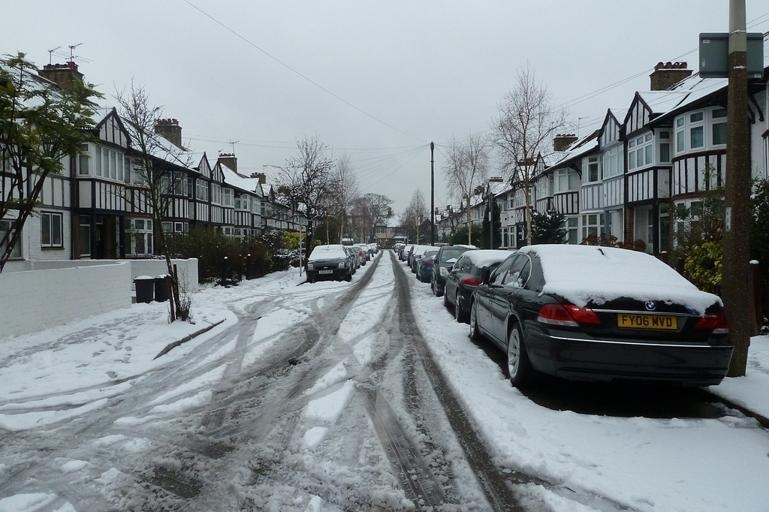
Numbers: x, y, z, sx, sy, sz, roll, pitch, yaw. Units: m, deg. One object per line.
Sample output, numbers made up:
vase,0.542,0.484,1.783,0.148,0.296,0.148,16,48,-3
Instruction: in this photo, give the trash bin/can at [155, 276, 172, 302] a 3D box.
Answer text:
trash bin/can,-5.890,0.869,15.284,0.547,0.914,0.500,2,-4,-26

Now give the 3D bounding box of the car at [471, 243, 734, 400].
car,3.280,1.123,9.173,3.933,2.131,2.025,10,18,38

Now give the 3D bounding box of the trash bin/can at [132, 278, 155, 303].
trash bin/can,-6.551,0.935,15.950,0.572,0.903,0.537,1,-8,-16
